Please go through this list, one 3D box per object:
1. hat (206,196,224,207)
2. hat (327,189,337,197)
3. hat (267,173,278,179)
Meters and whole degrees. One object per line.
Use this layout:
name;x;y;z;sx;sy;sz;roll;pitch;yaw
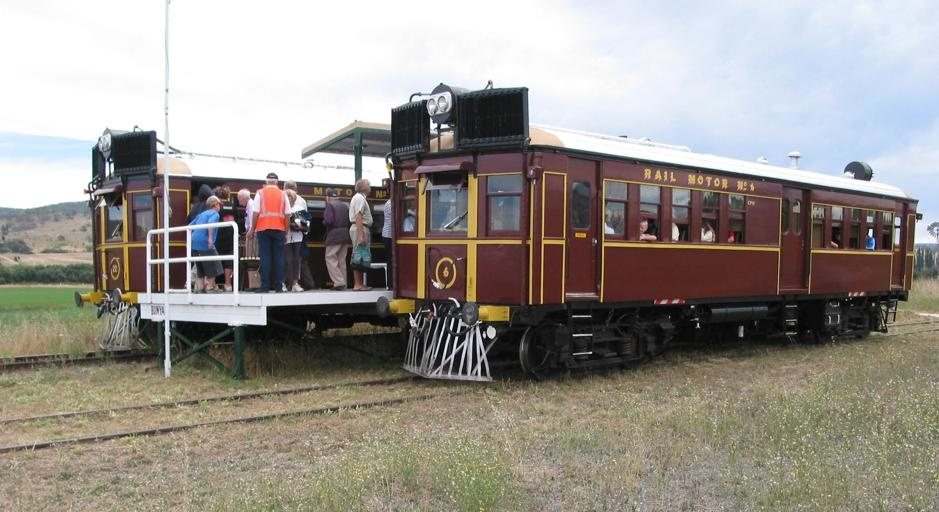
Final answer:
hat;-6.232;-1.348;18.295;0.230;0.287;0.288;3;23;3
hat;-3.667;-1.685;19.794;0.257;0.142;0.355;-2;6;-30
hat;-4.790;-1.984;18.147;0.173;0.091;0.232;3;-1;-13
